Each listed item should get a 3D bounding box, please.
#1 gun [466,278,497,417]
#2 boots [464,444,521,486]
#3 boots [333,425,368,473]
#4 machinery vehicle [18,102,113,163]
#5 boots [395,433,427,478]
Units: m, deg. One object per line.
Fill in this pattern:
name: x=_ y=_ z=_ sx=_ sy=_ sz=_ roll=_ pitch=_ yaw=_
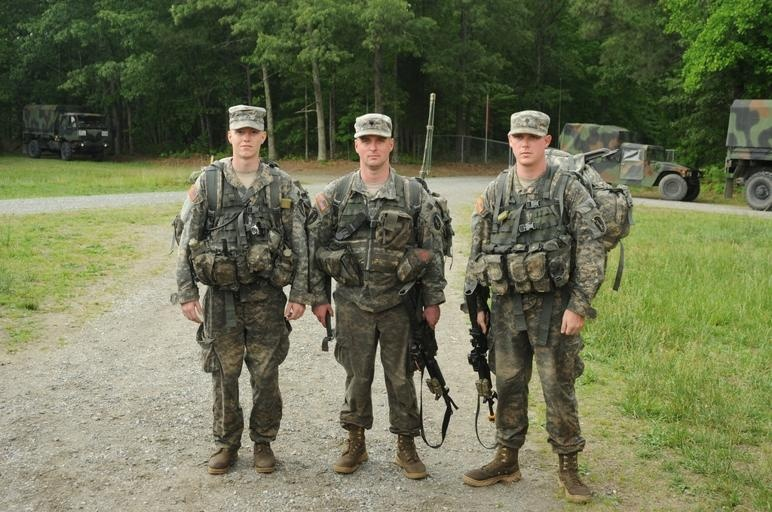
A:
gun: x=1.214 y=1.311 z=10.491 sx=0.510 sy=1.618 sz=0.500 roll=0 pitch=0 yaw=1
boots: x=1.343 y=2.666 z=10.252 sx=0.884 sy=0.449 sz=0.576 roll=-1 pitch=-2 yaw=-1
boots: x=-0.457 y=2.469 z=10.356 sx=0.274 sy=0.542 sz=0.599 roll=7 pitch=15 yaw=32
machinery vehicle: x=-17.183 y=-6.597 z=42.855 sx=5.308 sy=2.719 sz=2.388 roll=8 pitch=9 yaw=39
boots: x=0.323 y=2.534 z=10.301 sx=0.261 sy=0.453 sz=0.610 roll=-3 pitch=9 yaw=-25
